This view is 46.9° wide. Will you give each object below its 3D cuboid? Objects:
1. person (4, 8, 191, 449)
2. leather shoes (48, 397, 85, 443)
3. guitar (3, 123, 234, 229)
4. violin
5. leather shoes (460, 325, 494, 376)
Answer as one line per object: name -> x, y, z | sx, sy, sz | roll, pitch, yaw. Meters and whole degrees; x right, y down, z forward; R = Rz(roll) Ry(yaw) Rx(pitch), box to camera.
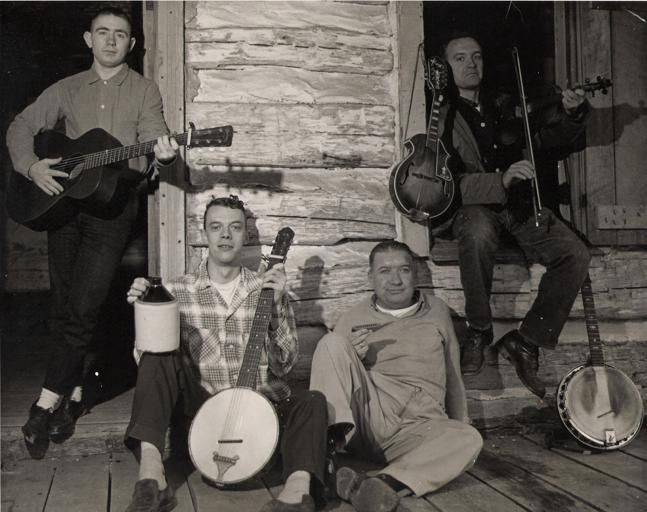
person -> -1.485, -0.322, 4.769 | 0.903, 3.066, 0.979 | 2, 8, -32
leather shoes -> -1.601, 1.030, 4.683 | 0.130, 0.250, 0.235 | 2, 4, 3
guitar -> -1.239, -0.484, 4.740 | 1.445, 0.677, 0.209 | -7, -7, 15
violin -> 1.532, -1.102, 5.147 | 0.860, 0.360, 0.163 | -16, -14, 14
leather shoes -> 1.009, 0.638, 4.963 | 0.171, 0.370, 0.184 | 1, 9, -8
